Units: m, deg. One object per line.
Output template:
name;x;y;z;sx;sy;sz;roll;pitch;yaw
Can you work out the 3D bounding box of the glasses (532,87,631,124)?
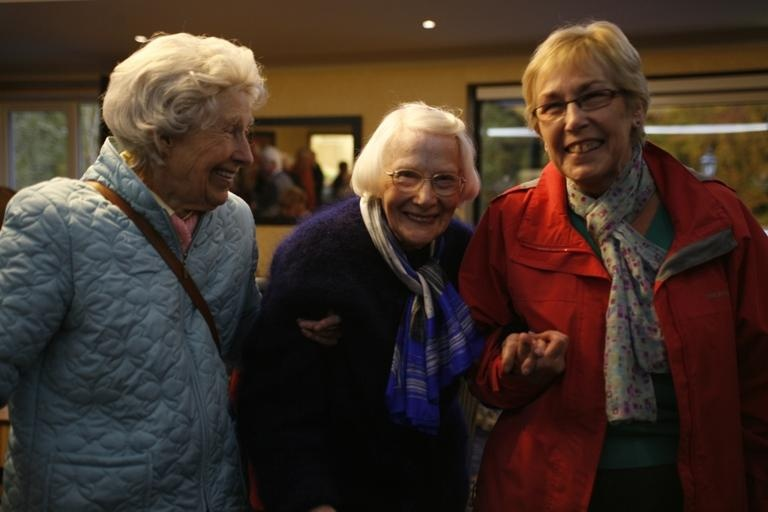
glasses;0.920;-0.697;4.052;0.452;0.121;0.108;-5;-7;17
